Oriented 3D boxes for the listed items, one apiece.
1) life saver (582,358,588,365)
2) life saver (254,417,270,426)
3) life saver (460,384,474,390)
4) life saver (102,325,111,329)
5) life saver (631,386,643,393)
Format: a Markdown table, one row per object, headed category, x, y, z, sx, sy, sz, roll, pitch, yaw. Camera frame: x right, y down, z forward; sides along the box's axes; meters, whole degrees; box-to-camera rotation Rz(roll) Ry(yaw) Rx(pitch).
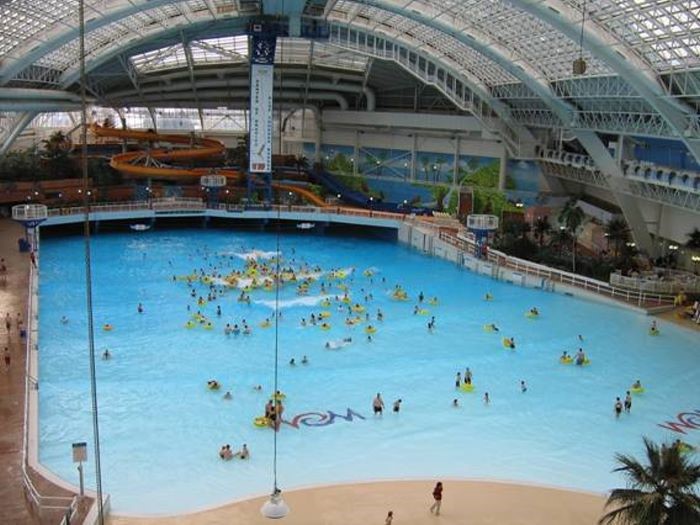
| category | x | y | z | sx | sy | sz | roll | pitch | yaw |
| --- | --- | --- | --- | --- | --- | --- | --- | --- | --- |
| life saver | 13.605 | 5.661 | 37.699 | 0.266 | 0.263 | 0.622 | 4 | 7 | 29 |
| life saver | -4.172 | 7.406 | 30.722 | 0.452 | 0.135 | 0.456 | 1 | 21 | -3 |
| life saver | 6.150 | 6.534 | 34.625 | 0.352 | 0.144 | 0.447 | 2 | 10 | 1 |
| life saver | -15.255 | 4.033 | 40.919 | 0.334 | 0.102 | 0.302 | 2 | 10 | -2 |
| life saver | 15.070 | 6.552 | 34.179 | 0.733 | 0.283 | 0.341 | -3 | 7 | -28 |
